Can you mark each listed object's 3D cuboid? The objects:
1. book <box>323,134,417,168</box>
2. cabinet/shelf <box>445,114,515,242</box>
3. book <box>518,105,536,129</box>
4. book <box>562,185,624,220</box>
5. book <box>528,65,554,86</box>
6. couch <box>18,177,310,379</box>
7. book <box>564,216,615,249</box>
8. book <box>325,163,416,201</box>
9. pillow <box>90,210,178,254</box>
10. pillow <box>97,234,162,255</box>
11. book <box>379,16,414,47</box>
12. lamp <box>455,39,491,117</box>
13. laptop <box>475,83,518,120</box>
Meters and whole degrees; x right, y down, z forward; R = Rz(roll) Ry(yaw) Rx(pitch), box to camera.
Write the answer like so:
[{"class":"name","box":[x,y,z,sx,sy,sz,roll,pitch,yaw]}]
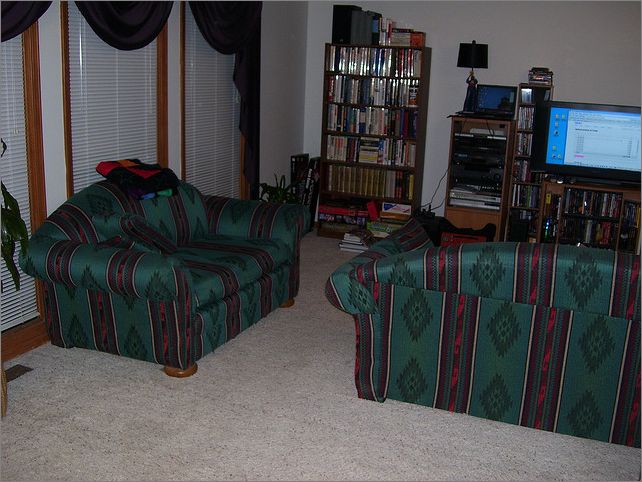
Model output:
[{"class":"book","box":[0.583,-1.039,5.937,1.097,0.386,0.359,6,15,18]},{"class":"cabinet/shelf","box":[1.697,-0.577,5.535,0.653,1.497,0.420,9,11,30]},{"class":"book","box":[2.183,-1.315,5.451,0.211,0.216,0.052,2,9,12]},{"class":"book","box":[2.699,-0.370,5.095,0.512,0.272,0.038,7,14,19]},{"class":"book","box":[2.317,-1.730,5.385,0.234,0.186,0.117,7,14,21]},{"class":"couch","box":[-1.038,0.170,3.657,1.088,1.090,1.642,8,14,24]},{"class":"book","box":[2.615,-0.088,4.941,0.279,0.265,0.100,5,13,16]},{"class":"book","box":[0.605,-0.684,6.075,1.042,0.369,0.408,6,12,16]},{"class":"pillow","box":[-1.143,-0.047,3.221,0.320,0.120,0.316,21,-4,-39]},{"class":"pillow","box":[-1.193,0.037,3.152,0.351,0.103,0.209,1,13,-4]},{"class":"book","box":[0.825,-2.315,5.662,0.366,0.299,0.161,4,13,7]},{"class":"lamp","box":[1.603,-1.723,5.462,0.286,0.741,0.499,5,14,14]},{"class":"laptop","box":[1.855,-1.455,5.411,0.377,0.303,0.111,8,-4,11]}]
